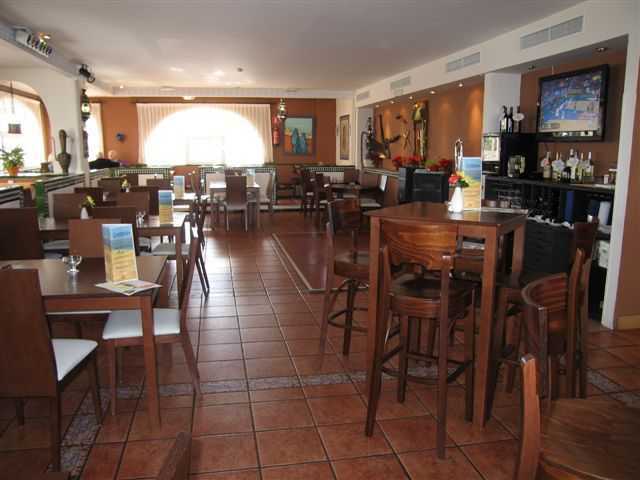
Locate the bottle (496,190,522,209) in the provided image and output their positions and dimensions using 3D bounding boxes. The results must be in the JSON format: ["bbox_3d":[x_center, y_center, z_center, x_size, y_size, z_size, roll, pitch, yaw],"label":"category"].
[{"bbox_3d":[2.041,-0.445,5.129,0.294,0.153,0.437,3,15,5],"label":"bottle"}]

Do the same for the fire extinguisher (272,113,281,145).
[{"bbox_3d":[-1.255,-3.234,13.987,0.294,0.904,0.479,0,12,0],"label":"fire extinguisher"}]

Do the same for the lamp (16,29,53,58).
[{"bbox_3d":[-3.788,-2.632,6.239,0.329,0.084,0.350,35,6,26],"label":"lamp"}]

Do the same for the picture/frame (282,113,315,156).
[{"bbox_3d":[-0.687,-3.208,14.258,1.196,1.467,0.110,0,11,-13],"label":"picture/frame"}]

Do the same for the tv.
[{"bbox_3d":[2.823,-1.517,5.301,0.092,0.842,0.934,-5,11,-26],"label":"tv"}]

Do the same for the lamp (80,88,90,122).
[{"bbox_3d":[-4.391,-2.528,8.930,0.163,0.602,0.392,-6,14,-25],"label":"lamp"}]
